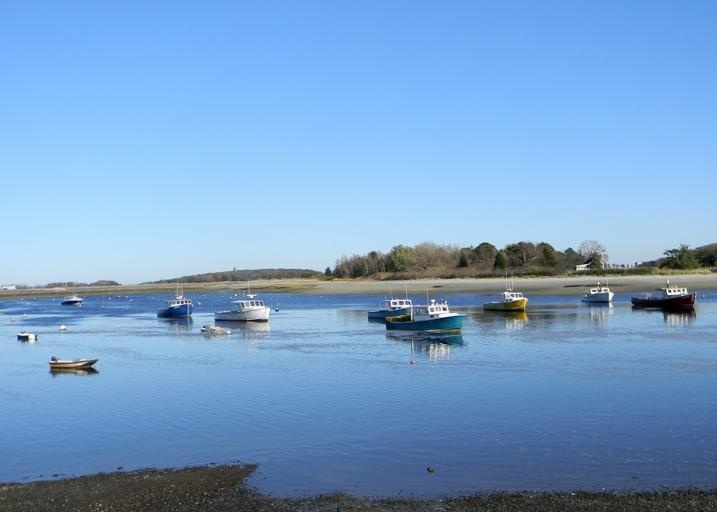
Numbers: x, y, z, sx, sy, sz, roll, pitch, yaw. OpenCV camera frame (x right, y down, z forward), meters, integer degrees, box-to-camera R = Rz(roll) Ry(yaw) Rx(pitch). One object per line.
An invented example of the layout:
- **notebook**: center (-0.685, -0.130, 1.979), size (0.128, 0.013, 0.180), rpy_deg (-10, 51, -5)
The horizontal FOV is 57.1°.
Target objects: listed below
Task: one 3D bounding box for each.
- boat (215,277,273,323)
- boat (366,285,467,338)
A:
- **boat**: center (-15.972, 6.883, 90.355), size (5.493, 6.093, 15.501), rpy_deg (0, -7, -38)
- **boat**: center (6.532, 6.337, 64.635), size (3.757, 2.653, 8.106), rpy_deg (1, -6, -44)
